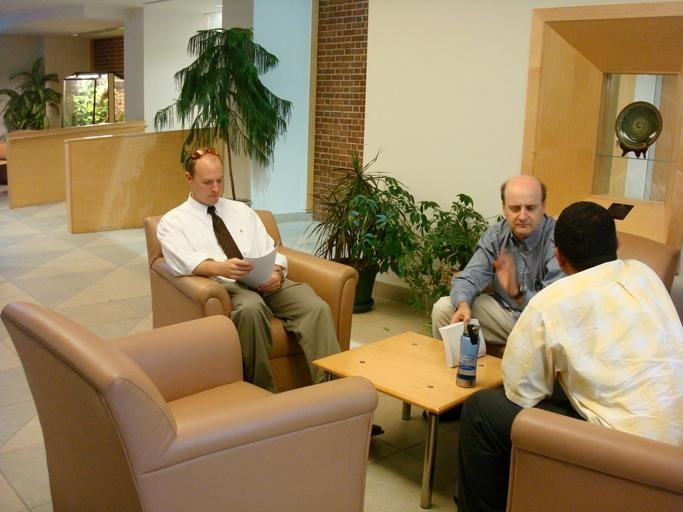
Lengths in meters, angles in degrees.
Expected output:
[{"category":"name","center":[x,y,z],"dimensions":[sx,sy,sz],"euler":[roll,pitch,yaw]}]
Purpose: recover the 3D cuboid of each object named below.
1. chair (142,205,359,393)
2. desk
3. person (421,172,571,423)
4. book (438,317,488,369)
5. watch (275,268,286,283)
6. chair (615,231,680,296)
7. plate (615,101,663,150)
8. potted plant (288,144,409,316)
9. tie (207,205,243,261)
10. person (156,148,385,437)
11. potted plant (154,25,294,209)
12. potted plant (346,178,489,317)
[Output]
[{"category":"chair","center":[-0.605,0.317,3.342],"dimensions":[1.229,1.333,1.087],"euler":[0,8,45]},{"category":"desk","center":[0.343,0.551,2.438],"dimensions":[0.712,0.491,0.690],"euler":[-15,24,-41]},{"category":"person","center":[0.869,0.246,2.897],"dimensions":[0.705,1.361,0.737],"euler":[2,14,7]},{"category":"book","center":[0.570,0.416,2.445],"dimensions":[0.190,0.186,0.057],"euler":[-14,6,-42]},{"category":"watch","center":[-0.376,0.103,3.182],"dimensions":[0.055,0.083,0.088],"euler":[27,1,19]},{"category":"chair","center":[1.402,0.021,2.367],"dimensions":[0.209,0.204,0.228],"euler":[14,45,29]},{"category":"plate","center":[2.033,-0.905,3.561],"dimensions":[0.069,0.304,0.262],"euler":[-8,14,-40]},{"category":"potted plant","center":[0.108,-0.156,4.423],"dimensions":[0.816,1.283,0.825],"euler":[16,19,30]},{"category":"tie","center":[-0.720,-0.122,3.174],"dimensions":[0.115,0.480,0.023],"euler":[-21,-11,-26]},{"category":"person","center":[-0.508,0.189,3.038],"dimensions":[0.691,1.775,1.249],"euler":[-15,9,-36]},{"category":"potted plant","center":[-1.347,-1.522,6.163],"dimensions":[1.233,2.229,1.346],"euler":[-5,40,-17]},{"category":"potted plant","center":[0.631,-0.163,4.075],"dimensions":[1.091,0.968,0.915],"euler":[3,4,-43]}]
